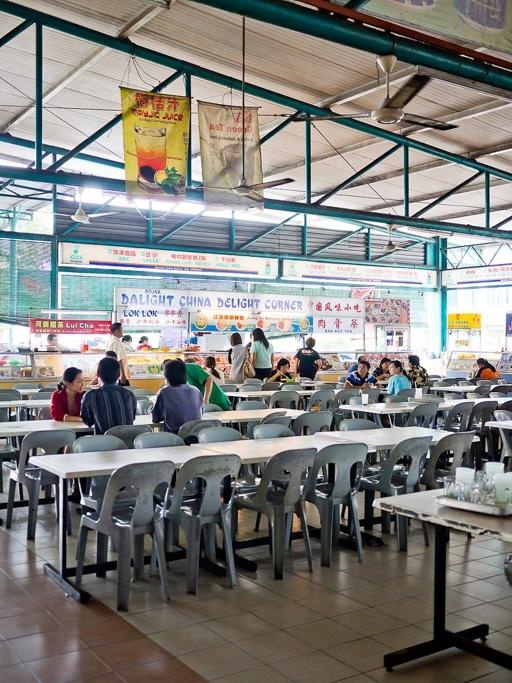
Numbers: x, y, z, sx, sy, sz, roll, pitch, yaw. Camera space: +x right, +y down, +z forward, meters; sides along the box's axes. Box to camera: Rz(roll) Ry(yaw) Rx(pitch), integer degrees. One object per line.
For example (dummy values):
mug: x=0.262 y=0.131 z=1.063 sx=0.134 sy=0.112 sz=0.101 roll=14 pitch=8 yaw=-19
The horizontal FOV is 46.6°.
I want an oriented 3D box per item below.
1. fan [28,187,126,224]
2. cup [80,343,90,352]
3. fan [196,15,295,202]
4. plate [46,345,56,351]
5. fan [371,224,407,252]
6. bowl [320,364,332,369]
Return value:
fan: x=-3.894 y=-2.915 z=12.621 sx=1.590 sy=0.580 sz=1.531 roll=-2 pitch=-2 yaw=-3
cup: x=-3.129 y=0.115 z=10.993 sx=0.221 sy=0.197 sz=0.121 roll=3 pitch=-7 yaw=-36
fan: x=-0.276 y=-2.896 z=7.911 sx=0.993 sy=2.477 sz=1.834 roll=1 pitch=-4 yaw=-7
plate: x=-3.616 y=0.111 z=10.589 sx=0.160 sy=0.104 sz=0.108 roll=2 pitch=-5 yaw=-19
fan: x=3.965 y=-3.175 z=18.282 sx=0.857 sy=0.639 sz=1.892 roll=-1 pitch=-5 yaw=17
bowl: x=1.693 y=0.604 z=14.350 sx=0.116 sy=0.135 sz=0.484 roll=-1 pitch=-5 yaw=28
